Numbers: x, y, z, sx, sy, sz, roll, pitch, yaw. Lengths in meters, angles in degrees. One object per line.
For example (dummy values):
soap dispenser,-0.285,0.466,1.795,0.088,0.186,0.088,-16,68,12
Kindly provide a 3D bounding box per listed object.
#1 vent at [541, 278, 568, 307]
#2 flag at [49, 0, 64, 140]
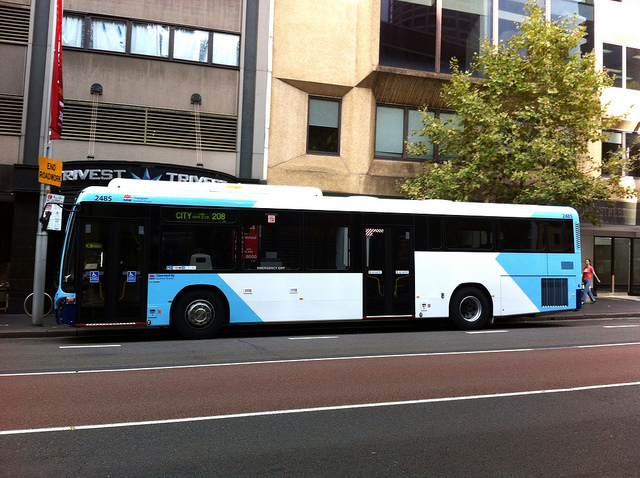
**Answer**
vent,7.047,1.626,19.129,0.760,0.879,0.225,3,-1,-8
flag,-7.883,-5.144,18.892,0.348,4.405,1.263,0,3,-23
